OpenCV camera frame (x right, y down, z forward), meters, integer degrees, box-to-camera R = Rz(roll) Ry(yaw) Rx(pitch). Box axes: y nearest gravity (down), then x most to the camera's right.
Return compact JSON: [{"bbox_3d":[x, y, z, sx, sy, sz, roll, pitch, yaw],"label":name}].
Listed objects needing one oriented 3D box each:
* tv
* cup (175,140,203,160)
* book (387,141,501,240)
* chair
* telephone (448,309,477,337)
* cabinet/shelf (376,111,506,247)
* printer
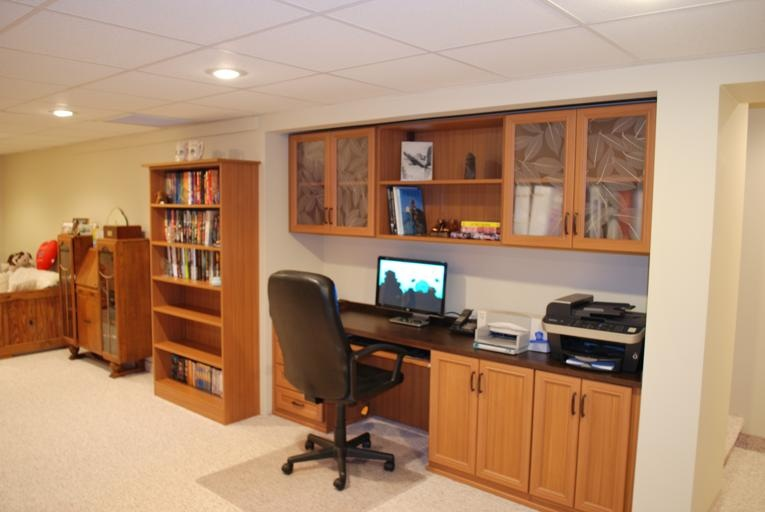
[{"bbox_3d":[0.288,0.345,5.223,0.836,0.608,0.257,5,7,40],"label":"tv"},{"bbox_3d":[-1.974,-1.064,5.626,0.272,0.181,0.211,0,4,0],"label":"cup"},{"bbox_3d":[0.576,-0.598,4.973,0.949,0.836,0.315,3,4,31],"label":"book"},{"bbox_3d":[-0.403,0.987,4.669,1.069,1.665,0.963,-1,4,-38],"label":"chair"},{"bbox_3d":[0.762,0.587,4.888,0.188,0.100,0.252,3,17,29],"label":"telephone"},{"bbox_3d":[0.543,-0.704,4.917,1.117,0.923,0.365,6,11,36],"label":"cabinet/shelf"},{"bbox_3d":[1.726,0.575,4.247,0.720,0.452,0.694,5,14,40],"label":"printer"}]
